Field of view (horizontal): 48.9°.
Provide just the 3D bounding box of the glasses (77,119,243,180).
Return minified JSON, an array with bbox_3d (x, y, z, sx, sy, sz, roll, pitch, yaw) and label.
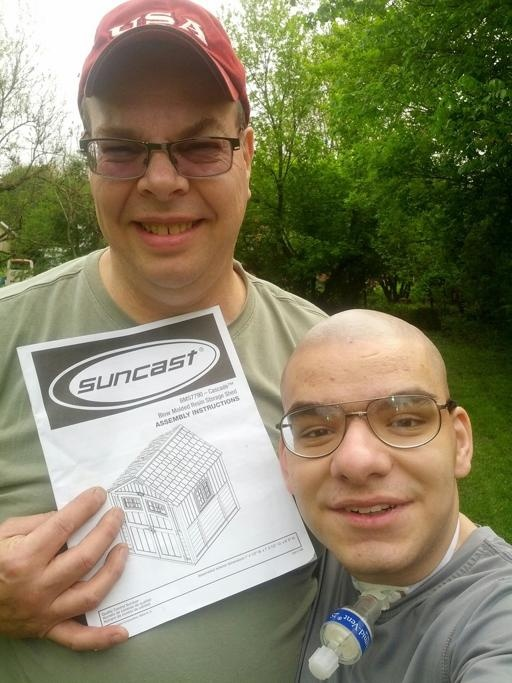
[{"bbox_3d":[-0.312,-0.599,1.845,0.492,0.134,0.167,-5,15,-13],"label":"glasses"}]
